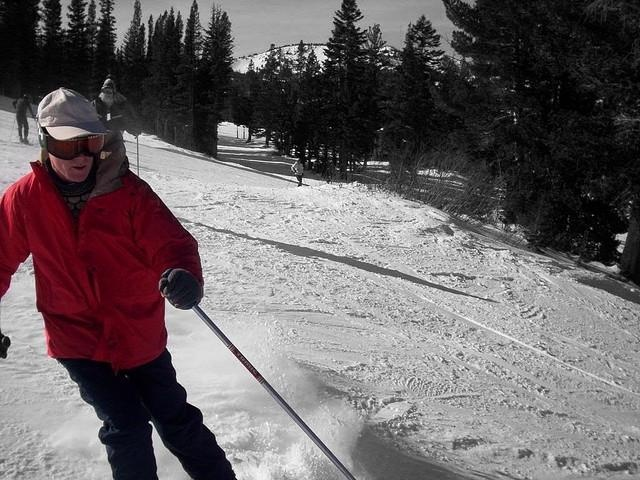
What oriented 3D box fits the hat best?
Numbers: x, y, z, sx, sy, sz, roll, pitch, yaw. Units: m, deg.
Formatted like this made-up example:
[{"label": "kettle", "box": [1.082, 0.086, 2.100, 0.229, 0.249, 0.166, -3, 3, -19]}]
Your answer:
[{"label": "hat", "box": [-1.386, -0.672, 3.147, 0.257, 0.181, 0.370, -13, 32, -36]}]
